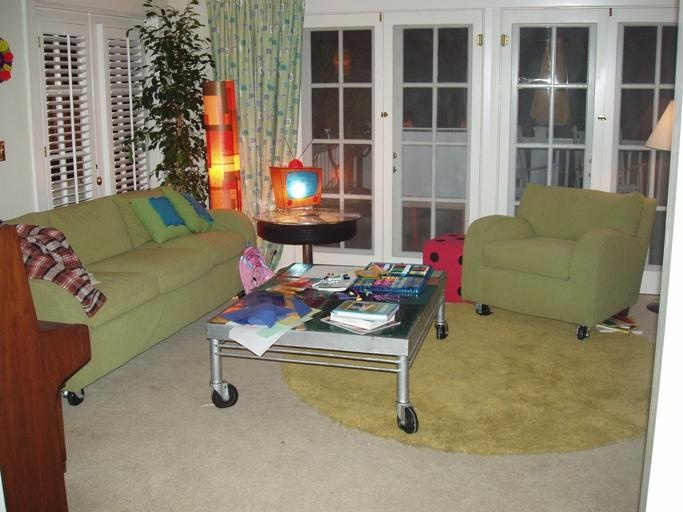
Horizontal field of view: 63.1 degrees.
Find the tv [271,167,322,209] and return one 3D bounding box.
[{"bbox_3d":[-0.372,-0.618,4.826,0.392,0.341,0.224,-9,18,-32],"label":"tv"}]

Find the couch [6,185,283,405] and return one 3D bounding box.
[{"bbox_3d":[-1.521,0.130,4.195,0.971,1.002,2.103,7,17,20],"label":"couch"}]

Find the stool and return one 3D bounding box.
[{"bbox_3d":[1.001,0.100,4.885,0.531,0.401,0.539,4,11,2],"label":"stool"}]

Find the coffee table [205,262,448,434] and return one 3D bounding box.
[{"bbox_3d":[0.175,0.371,3.327,1.032,0.423,1.070,5,18,19],"label":"coffee table"}]

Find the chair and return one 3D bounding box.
[{"bbox_3d":[1.844,0.046,4.609,1.249,1.171,1.294,9,14,40],"label":"chair"}]
